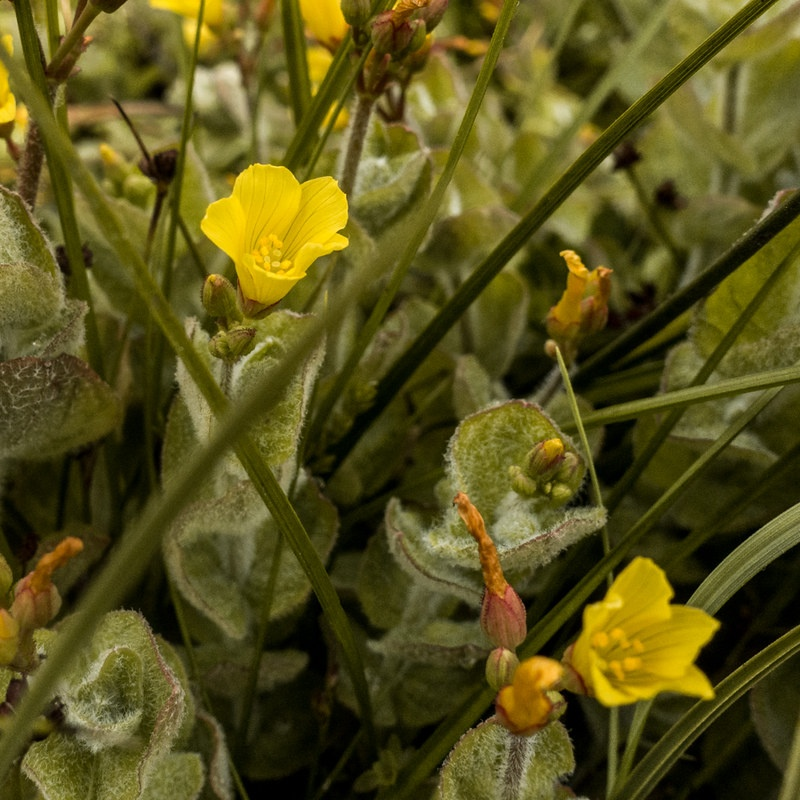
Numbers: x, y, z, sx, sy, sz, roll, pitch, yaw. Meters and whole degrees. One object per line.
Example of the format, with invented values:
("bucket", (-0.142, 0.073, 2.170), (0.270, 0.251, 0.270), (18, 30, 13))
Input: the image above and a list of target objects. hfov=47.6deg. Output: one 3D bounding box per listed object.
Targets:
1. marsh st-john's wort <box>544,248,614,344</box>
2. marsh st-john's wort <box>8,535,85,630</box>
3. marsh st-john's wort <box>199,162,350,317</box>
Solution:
("marsh st-john's wort", (0.118, -0.065, 0.589), (0.034, 0.073, 0.023), (4, 40, 1))
("marsh st-john's wort", (-0.188, 0.102, 0.469), (0.028, 0.072, 0.024), (17, 30, -16))
("marsh st-john's wort", (-0.077, -0.091, 0.528), (0.082, 0.071, 0.076), (10, 42, -23))
